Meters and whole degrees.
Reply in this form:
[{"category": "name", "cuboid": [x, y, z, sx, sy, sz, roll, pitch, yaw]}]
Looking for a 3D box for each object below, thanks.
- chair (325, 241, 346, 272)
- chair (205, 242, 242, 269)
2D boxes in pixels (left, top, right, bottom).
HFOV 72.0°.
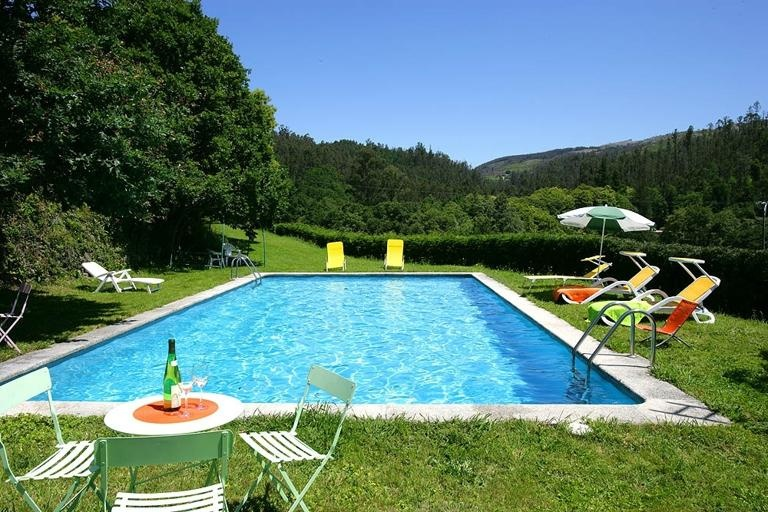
[{"category": "chair", "cuboid": [-2.281, 0.038, 24.735, 0.863, 1.267, 0.847, -1, 6, -10]}, {"category": "chair", "cuboid": [-7.813, 0.029, 25.635, 1.254, 1.680, 1.248, -1, -14, 11]}]
